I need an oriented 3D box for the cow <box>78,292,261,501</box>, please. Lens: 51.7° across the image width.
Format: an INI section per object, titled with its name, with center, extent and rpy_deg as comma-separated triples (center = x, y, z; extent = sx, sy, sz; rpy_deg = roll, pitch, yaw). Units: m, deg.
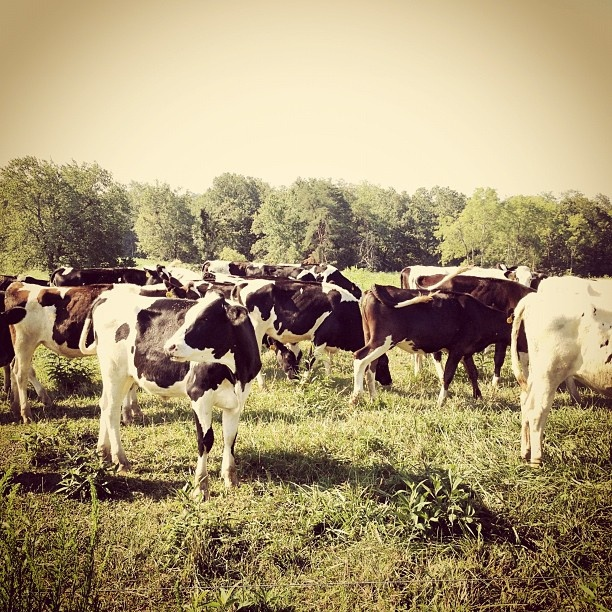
[cow]
center = -1.436, 0.838, 6.521
extent = 1.721, 2.100, 0.948
rpy_deg = -1, -4, 24
